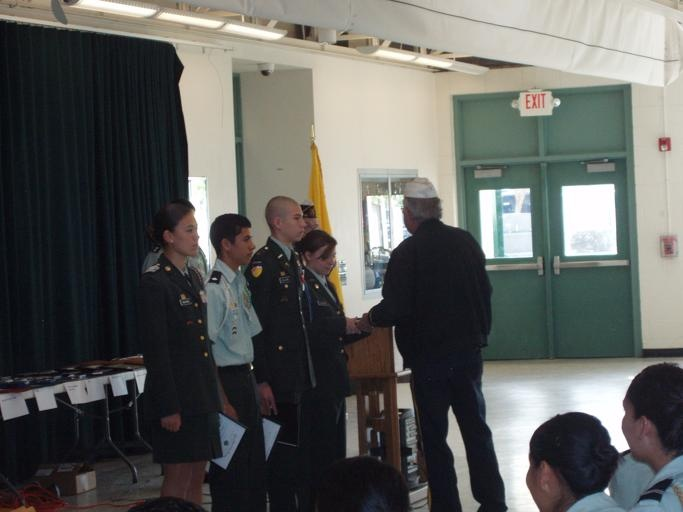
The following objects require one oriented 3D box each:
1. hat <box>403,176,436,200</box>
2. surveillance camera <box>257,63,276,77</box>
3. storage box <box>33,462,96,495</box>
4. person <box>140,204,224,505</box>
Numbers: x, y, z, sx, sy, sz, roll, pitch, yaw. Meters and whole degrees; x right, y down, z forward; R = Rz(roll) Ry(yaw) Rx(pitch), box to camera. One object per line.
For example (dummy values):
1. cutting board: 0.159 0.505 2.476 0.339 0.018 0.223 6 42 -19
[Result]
1. hat: 0.468 -0.413 3.911 0.122 0.086 0.161 -4 11 -44
2. surveillance camera: -0.840 -2.079 7.221 0.124 0.100 0.130 -2 1 -3
3. storage box: -2.229 1.761 5.124 0.491 0.216 0.324 -2 2 22
4. person: -0.831 0.375 3.287 0.384 1.116 0.304 -3 2 -19
